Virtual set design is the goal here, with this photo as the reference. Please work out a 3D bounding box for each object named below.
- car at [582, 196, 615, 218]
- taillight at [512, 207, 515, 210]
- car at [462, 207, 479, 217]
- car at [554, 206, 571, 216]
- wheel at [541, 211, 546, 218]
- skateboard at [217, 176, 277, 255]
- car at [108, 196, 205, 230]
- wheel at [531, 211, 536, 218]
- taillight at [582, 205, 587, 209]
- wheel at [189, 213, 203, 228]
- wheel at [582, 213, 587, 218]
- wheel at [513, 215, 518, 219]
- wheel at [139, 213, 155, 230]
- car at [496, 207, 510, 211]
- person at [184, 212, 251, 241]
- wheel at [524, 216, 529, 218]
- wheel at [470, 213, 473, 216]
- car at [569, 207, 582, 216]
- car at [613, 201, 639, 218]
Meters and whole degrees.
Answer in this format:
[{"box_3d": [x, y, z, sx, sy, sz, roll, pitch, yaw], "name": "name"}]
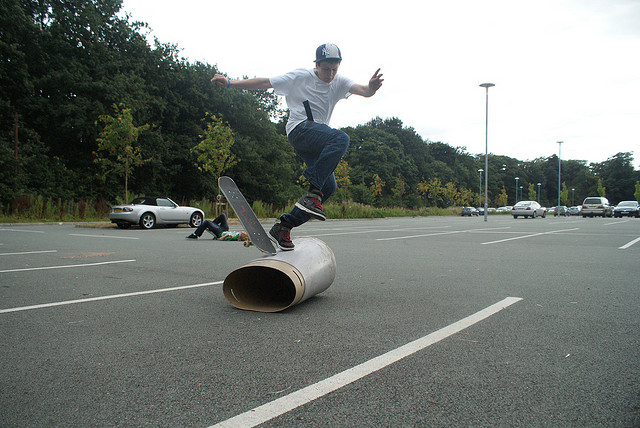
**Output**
[{"box_3d": [26.562, -0.289, 44.235, 2.520, 1.971, 4.902, 1, 3, 36], "name": "car"}, {"box_3d": [16.417, -0.464, 38.945, 0.235, 0.099, 0.431, -25, 11, 11], "name": "taillight"}, {"box_3d": [18.862, -0.270, 57.714, 1.203, 1.018, 2.673, 2, 5, 22], "name": "car"}, {"box_3d": [31.099, -0.320, 58.966, 1.410, 1.085, 3.106, 1, 9, 33], "name": "car"}, {"box_3d": [19.829, 0.023, 40.746, 0.213, 0.636, 0.621, 4, -7, 6], "name": "wheel"}, {"box_3d": [-0.833, 0.049, 5.069, 0.315, 1.162, 0.161, 3, -47, -50], "name": "skateboard"}, {"box_3d": [-6.158, -0.008, 17.858, 1.727, 1.264, 3.616, 1, 1, 44], "name": "car"}, {"box_3d": [17.859, 0.024, 38.394, 0.184, 0.595, 0.577, -2, 2, 7], "name": "wheel"}, {"box_3d": [24.682, -0.649, 42.787, 0.364, 0.364, 0.364, -1, -1, 39], "name": "taillight"}, {"box_3d": [-4.773, 0.239, 17.624, 0.173, 0.550, 0.534, 0, -3, 24], "name": "wheel"}, {"box_3d": [25.216, 0.142, 43.764, 0.373, 0.388, 0.690, 0, 6, 30], "name": "wheel"}, {"box_3d": [16.108, 0.218, 37.813, 0.238, 0.286, 0.279, -11, -11, 27], "name": "wheel"}, {"box_3d": [-6.405, 0.253, 17.018, 0.162, 0.485, 0.469, -6, 11, 35], "name": "wheel"}, {"box_3d": [35.171, -0.954, 88.180, 2.286, 1.186, 1.437, 3, 2, 7], "name": "car"}, {"box_3d": [-2.447, 0.440, 11.763, 1.815, 0.638, 1.083, 12, 6, 16], "name": "person"}, {"box_3d": [17.416, 0.266, 38.833, 0.169, 0.183, 0.175, 13, 18, -4], "name": "wheel"}, {"box_3d": [18.786, 0.123, 56.802, 0.199, 0.206, 0.198, 19, 0, 0], "name": "wheel"}, {"box_3d": [28.275, -0.293, 50.870, 0.993, 1.056, 4.704, -1, -1, 26], "name": "car"}, {"box_3d": [27.952, -0.519, 41.720, 1.384, 1.098, 3.180, -3, -7, 36], "name": "car"}]
